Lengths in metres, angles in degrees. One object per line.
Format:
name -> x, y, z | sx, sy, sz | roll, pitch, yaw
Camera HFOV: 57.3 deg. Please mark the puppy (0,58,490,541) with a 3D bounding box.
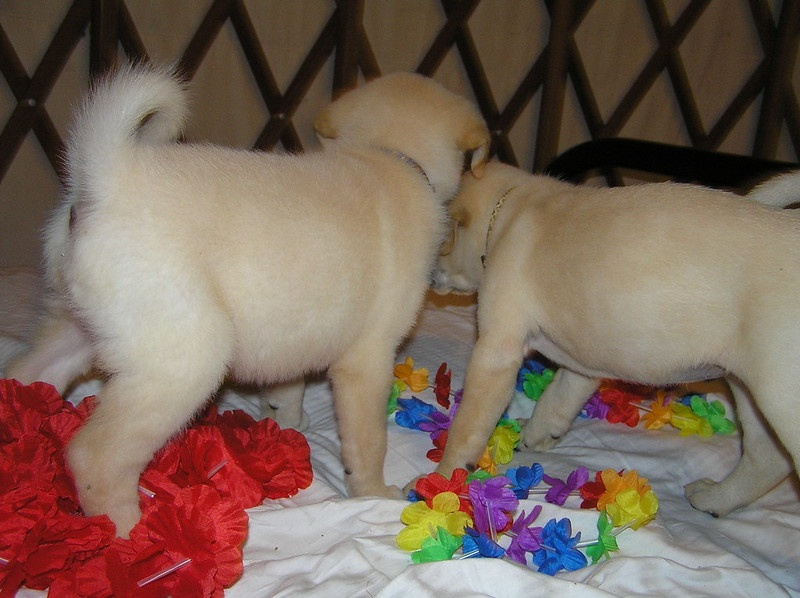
puppy -> -0.350, -0.035, 2.092 | 1.278, 1.036, 0.869 | -20, 41, -31
